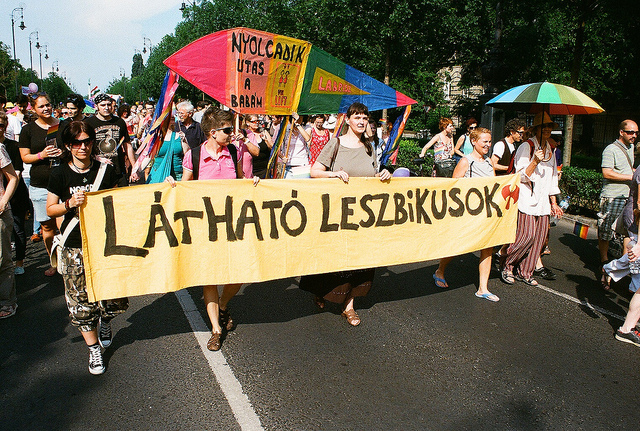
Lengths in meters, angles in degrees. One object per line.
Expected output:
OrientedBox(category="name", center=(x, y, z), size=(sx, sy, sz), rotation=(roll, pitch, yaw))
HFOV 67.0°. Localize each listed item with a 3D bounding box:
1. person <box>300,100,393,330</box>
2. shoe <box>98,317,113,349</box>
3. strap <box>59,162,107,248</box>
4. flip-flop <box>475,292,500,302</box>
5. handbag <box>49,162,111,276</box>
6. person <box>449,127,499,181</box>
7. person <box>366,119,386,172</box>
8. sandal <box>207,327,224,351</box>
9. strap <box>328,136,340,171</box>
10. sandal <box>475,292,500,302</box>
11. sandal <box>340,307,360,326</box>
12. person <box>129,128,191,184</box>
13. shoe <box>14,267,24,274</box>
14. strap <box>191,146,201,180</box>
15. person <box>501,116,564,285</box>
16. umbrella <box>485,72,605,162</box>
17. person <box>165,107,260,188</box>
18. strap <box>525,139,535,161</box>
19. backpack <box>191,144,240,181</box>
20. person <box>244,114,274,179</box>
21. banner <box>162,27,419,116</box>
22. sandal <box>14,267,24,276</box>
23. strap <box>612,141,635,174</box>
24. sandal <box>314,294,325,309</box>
OrientedBox(category="person", center=(0.350, -0.021, 6.299), size=(1.050, 2.823, 0.782), rotation=(4, 11, 10))
OrientedBox(category="shoe", center=(-2.525, 1.374, 5.725), size=(0.132, 0.165, 0.398), rotation=(5, 30, -33))
OrientedBox(category="strap", center=(-2.591, -0.083, 5.245), size=(0.108, 1.005, 0.148), rotation=(32, 3, -3))
OrientedBox(category="flip-flop", center=(2.391, 1.165, 6.987), size=(0.260, 0.070, 0.104), rotation=(8, 16, 35))
OrientedBox(category="handbag", center=(-2.704, 0.045, 5.348), size=(0.646, 1.265, 0.420), rotation=(-1, 11, -15))
OrientedBox(category="person", center=(2.299, -0.901, 7.068), size=(0.795, 0.727, 0.409), rotation=(-3, 7, -32))
OrientedBox(category="person", center=(1.386, -1.597, 12.111), size=(0.435, 0.452, 1.550), rotation=(3, -28, 16))
OrientedBox(category="sandal", center=(-1.252, 1.489, 5.731), size=(0.094, 0.097, 0.259), rotation=(19, 13, -13))
OrientedBox(category="strap", center=(0.183, -0.767, 6.036), size=(0.068, 0.306, 0.162), rotation=(16, 5, 16))
OrientedBox(category="sandal", center=(2.403, 1.166, 7.010), size=(0.249, 0.063, 0.102), rotation=(9, 19, 36))
OrientedBox(category="sandal", center=(0.392, 1.327, 6.347), size=(0.106, 0.082, 0.270), rotation=(-14, 25, -18))
OrientedBox(category="person", center=(-2.668, -1.071, 7.947), size=(0.852, 0.224, 1.993), rotation=(-1, -28, -19))
OrientedBox(category="shoe", center=(-4.804, 0.877, 7.697), size=(0.191, 0.139, 0.337), rotation=(0, -6, -34))
OrientedBox(category="strap", center=(-1.502, -0.636, 5.840), size=(0.112, 0.390, 0.159), rotation=(-1, 11, -16))
OrientedBox(category="person", center=(3.247, -0.199, 7.388), size=(0.958, 2.598, 0.603), rotation=(-8, 15, -44))
OrientedBox(category="umbrella", center=(3.605, -1.455, 8.052), size=(1.609, 1.239, 1.642), rotation=(12, 13, 38))
OrientedBox(category="person", center=(-1.571, -0.945, 6.721), size=(1.250, 1.596, 0.470), rotation=(-12, 22, -37))
OrientedBox(category="strap", center=(3.177, -0.994, 7.338), size=(0.080, 0.314, 0.166), rotation=(-5, 13, -33))
OrientedBox(category="backpack", center=(-1.295, -0.589, 6.075), size=(0.560, 0.655, 0.442), rotation=(0, -2, -15))
OrientedBox(category="person", center=(-1.225, -1.214, 9.759), size=(0.449, 1.457, 0.370), rotation=(-6, 53, -12))
OrientedBox(category="banner", center=(-0.223, -2.211, 7.884), size=(4.633, 1.337, 0.173), rotation=(-3, 34, -26))
OrientedBox(category="sandal", center=(-4.809, 0.895, 7.709), size=(0.191, 0.136, 0.331), rotation=(3, -4, -35))
OrientedBox(category="strap", center=(4.976, -0.981, 7.953), size=(0.325, 0.456, 0.133), rotation=(6, 11, 17))
OrientedBox(category="sandal", center=(-0.021, 1.170, 6.580), size=(0.158, 0.192, 0.205), rotation=(-1, -3, -27))
